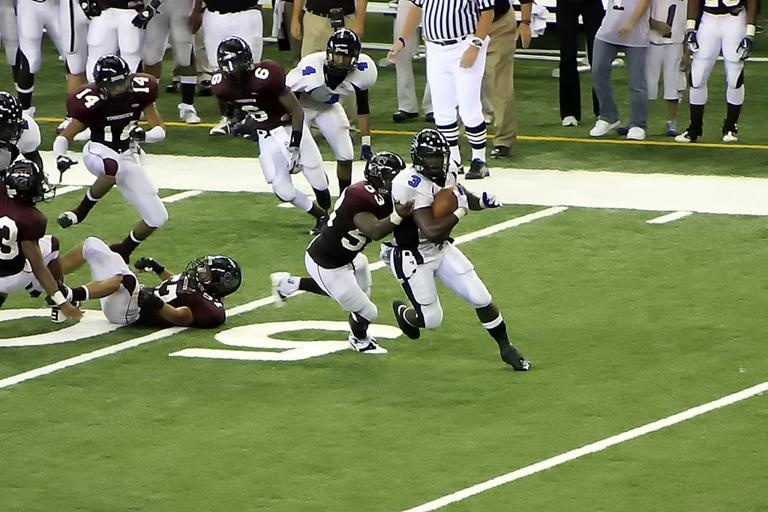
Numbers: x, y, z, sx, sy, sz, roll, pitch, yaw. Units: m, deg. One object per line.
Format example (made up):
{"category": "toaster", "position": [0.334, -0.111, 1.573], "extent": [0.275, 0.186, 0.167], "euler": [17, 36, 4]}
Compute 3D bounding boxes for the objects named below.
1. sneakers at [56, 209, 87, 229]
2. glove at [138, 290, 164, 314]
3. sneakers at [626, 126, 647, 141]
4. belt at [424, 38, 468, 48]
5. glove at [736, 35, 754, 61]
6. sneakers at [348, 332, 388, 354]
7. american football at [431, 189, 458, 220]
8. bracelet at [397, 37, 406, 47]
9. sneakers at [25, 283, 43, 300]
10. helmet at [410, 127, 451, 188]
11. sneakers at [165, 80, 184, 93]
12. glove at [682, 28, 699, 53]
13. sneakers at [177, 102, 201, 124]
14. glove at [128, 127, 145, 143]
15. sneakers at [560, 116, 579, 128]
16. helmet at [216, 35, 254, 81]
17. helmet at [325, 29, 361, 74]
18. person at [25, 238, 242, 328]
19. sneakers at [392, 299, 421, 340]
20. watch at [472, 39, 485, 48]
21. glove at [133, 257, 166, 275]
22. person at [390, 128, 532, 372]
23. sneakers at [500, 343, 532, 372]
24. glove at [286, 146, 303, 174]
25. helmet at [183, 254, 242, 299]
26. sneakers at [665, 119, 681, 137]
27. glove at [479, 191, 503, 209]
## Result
{"category": "sneakers", "position": [-2.608, -0.304, 8.156], "extent": [0.160, 0.073, 0.202], "euler": [14, 19, 28]}
{"category": "glove", "position": [-1.651, 0.317, 6.953], "extent": [0.170, 0.147, 0.189], "euler": [43, -13, -9]}
{"category": "sneakers", "position": [3.049, -1.470, 11.883], "extent": [0.274, 0.154, 0.484], "euler": [0, 3, 15]}
{"category": "belt", "position": [0.642, -2.174, 10.066], "extent": [0.379, 0.071, 0.068], "euler": [0, 11, 15]}
{"category": "glove", "position": [4.069, -2.328, 11.065], "extent": [0.226, 0.242, 0.111], "euler": [21, 0, 15]}
{"category": "sneakers", "position": [-0.121, 0.607, 6.819], "extent": [0.309, 0.091, 0.108], "euler": [7, 15, -1]}
{"category": "american football", "position": [0.389, -0.331, 6.333], "extent": [0.152, 0.197, 0.125], "euler": [36, -13, -3]}
{"category": "bracelet", "position": [0.199, -2.301, 10.616], "extent": [0.050, 0.059, 0.116], "euler": [-10, -34, 14]}
{"category": "sneakers", "position": [-2.568, 0.264, 7.268], "extent": [0.112, 0.067, 0.228], "euler": [17, -7, -10]}
{"category": "helmet", "position": [0.300, -0.630, 6.390], "extent": [0.237, 0.365, 0.213], "euler": [-4, 11, 1]}
{"category": "sneakers", "position": [-3.065, -2.516, 14.559], "extent": [0.127, 0.202, 0.303], "euler": [6, 34, -26]}
{"category": "glove", "position": [3.510, -2.446, 11.234], "extent": [0.248, 0.222, 0.115], "euler": [-3, 9, -6]}
{"category": "sneakers", "position": [-2.597, -1.855, 12.850], "extent": [0.206, 0.158, 0.446], "euler": [-20, 25, -30]}
{"category": "glove", "position": [-2.031, -0.994, 8.101], "extent": [0.134, 0.138, 0.233], "euler": [-6, 10, -13]}
{"category": "sneakers", "position": [2.401, -1.722, 12.708], "extent": [0.260, 0.118, 0.323], "euler": [0, 2, 3]}
{"category": "helmet", "position": [-1.310, -1.733, 8.648], "extent": [0.302, 0.366, 0.260], "euler": [-5, 11, -7]}
{"category": "helmet", "position": [-0.366, -1.922, 9.245], "extent": [0.394, 0.321, 0.407], "euler": [4, 39, 1]}
{"category": "person", "position": [-1.806, 0.198, 7.075], "extent": [1.372, 0.400, 0.718], "euler": [10, 18, -33]}
{"category": "sneakers", "position": [0.150, 0.444, 6.842], "extent": [0.159, 0.315, 0.117], "euler": [-26, 7, 9]}
{"category": "watch", "position": [0.937, -2.140, 9.914], "extent": [0.121, 0.092, 0.057], "euler": [-2, 11, 4]}
{"category": "glove", "position": [-1.732, 0.073, 7.306], "extent": [0.203, 0.082, 0.141], "euler": [17, -1, -32]}
{"category": "person", "position": [0.429, -0.036, 6.496], "extent": [0.999, 1.582, 0.556], "euler": [-1, 12, 15]}
{"category": "sneakers", "position": [0.857, 0.672, 6.498], "extent": [0.247, 0.122, 0.114], "euler": [37, 2, 0]}
{"category": "glove", "position": [-0.797, -0.843, 8.804], "extent": [0.205, 0.187, 0.223], "euler": [0, 3, -4]}
{"category": "helmet", "position": [-1.214, 0.128, 7.083], "extent": [0.438, 0.235, 0.279], "euler": [12, 17, -6]}
{"category": "sneakers", "position": [3.545, -1.546, 12.145], "extent": [0.152, 0.120, 0.345], "euler": [3, 3, 7]}
{"category": "glove", "position": [0.701, -0.365, 6.450], "extent": [0.142, 0.052, 0.135], "euler": [14, 3, 22]}
